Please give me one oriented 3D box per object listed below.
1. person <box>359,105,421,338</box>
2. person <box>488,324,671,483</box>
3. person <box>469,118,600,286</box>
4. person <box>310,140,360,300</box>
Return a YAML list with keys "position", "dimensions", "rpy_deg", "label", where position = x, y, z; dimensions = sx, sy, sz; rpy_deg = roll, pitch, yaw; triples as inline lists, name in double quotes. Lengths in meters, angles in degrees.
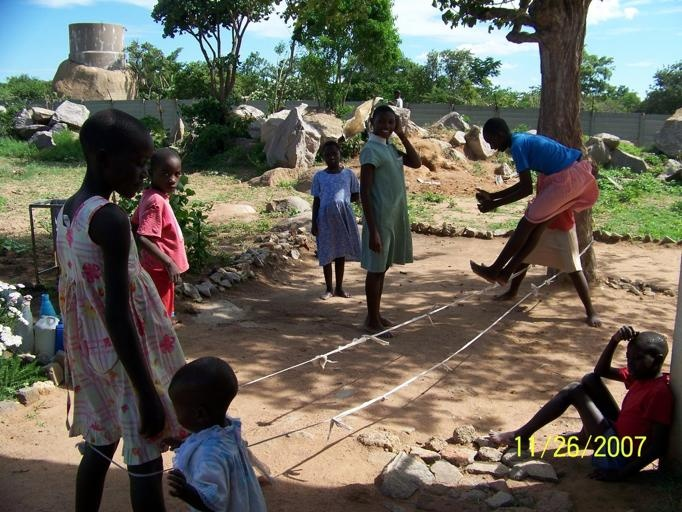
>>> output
- position: [0.414, -0.345, 5.979]
  dimensions: [0.347, 2.222, 0.628]
  rpy_deg: [7, 9, 39]
  label: "person"
- position: [1.404, 0.951, 3.987]
  dimensions: [1.189, 0.829, 0.726]
  rpy_deg: [0, 3, 39]
  label: "person"
- position: [1.879, -0.541, 5.995]
  dimensions: [1.222, 1.601, 0.590]
  rpy_deg: [2, 7, 2]
  label: "person"
- position: [-0.057, -0.420, 7.263]
  dimensions: [0.579, 1.863, 0.536]
  rpy_deg: [1, 7, 0]
  label: "person"
